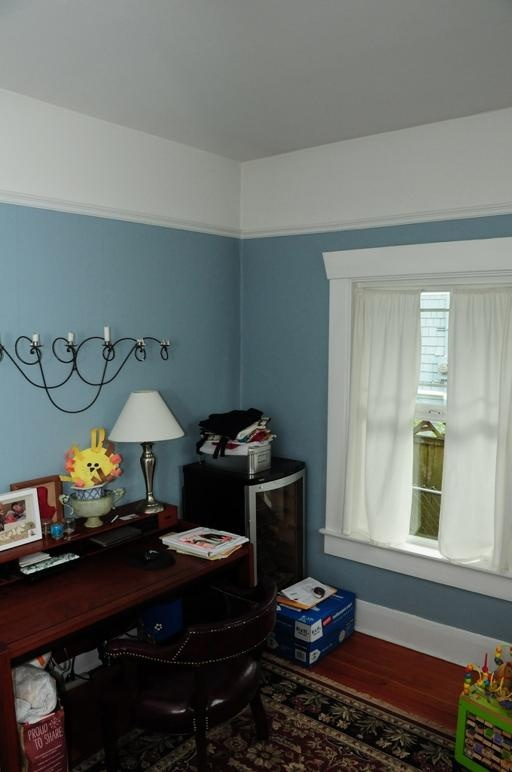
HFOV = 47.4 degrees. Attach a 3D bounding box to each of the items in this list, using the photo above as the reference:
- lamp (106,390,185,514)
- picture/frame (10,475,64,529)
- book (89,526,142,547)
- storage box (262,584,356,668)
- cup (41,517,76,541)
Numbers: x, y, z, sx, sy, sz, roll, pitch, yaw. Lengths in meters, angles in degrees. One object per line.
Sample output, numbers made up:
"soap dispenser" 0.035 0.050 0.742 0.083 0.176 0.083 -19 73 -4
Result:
"lamp" -0.504 0.301 2.708 0.348 0.562 0.347 3 9 26
"picture/frame" -0.897 0.502 2.457 0.207 0.205 0.020 -13 -2 15
"book" -0.609 0.644 2.493 0.117 0.028 0.119 -1 6 42
"storage box" 0.276 1.203 3.024 0.327 0.238 0.453 7 9 40
"cup" -0.797 0.582 2.375 0.082 0.050 0.079 0 -1 0
